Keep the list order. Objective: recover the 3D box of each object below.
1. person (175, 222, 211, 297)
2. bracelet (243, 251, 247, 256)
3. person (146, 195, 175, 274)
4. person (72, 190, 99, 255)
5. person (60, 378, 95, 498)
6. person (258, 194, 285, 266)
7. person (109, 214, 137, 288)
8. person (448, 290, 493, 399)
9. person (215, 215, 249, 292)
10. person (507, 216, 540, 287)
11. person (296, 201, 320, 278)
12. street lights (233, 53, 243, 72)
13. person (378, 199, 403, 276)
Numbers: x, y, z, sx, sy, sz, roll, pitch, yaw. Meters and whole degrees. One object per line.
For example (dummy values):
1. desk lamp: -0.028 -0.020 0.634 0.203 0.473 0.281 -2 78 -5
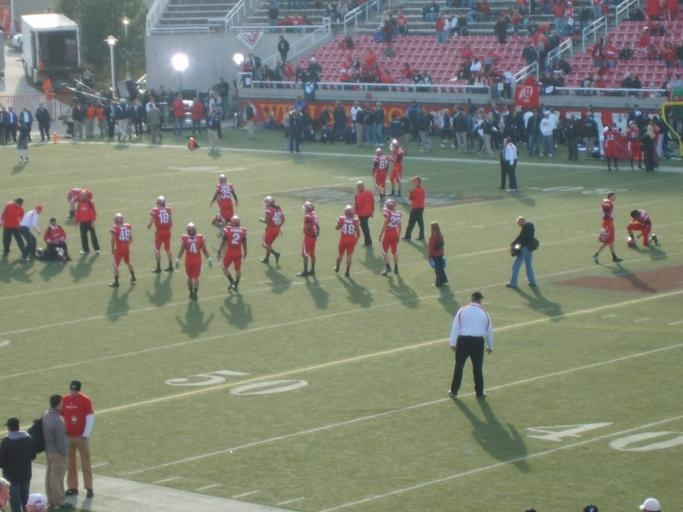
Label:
1. person: -3.931 0.178 41.329 0.945 1.978 0.532 1 2 6
2. bracelet: -2.649 -0.096 42.633 0.085 0.116 0.043 -6 -4 6
3. person: -5.099 -0.765 43.609 0.811 2.290 0.678 3 19 -4
4. person: -7.377 -0.999 44.882 0.626 2.011 0.734 9 11 41
5. person: -5.700 3.879 33.007 0.795 2.455 0.831 -3 -2 14
6. person: -1.888 -0.777 43.999 0.647 1.847 0.718 0 7 -9
7. person: -6.072 -0.222 42.352 0.805 1.938 0.715 -13 18 -40
8. person: 3.030 2.040 35.652 0.986 2.424 0.688 7 2 3
9. person: -2.962 -0.135 42.047 0.905 2.006 0.739 0 14 -28
10. person: 4.909 -0.186 41.390 0.759 1.833 0.923 -9 21 -27
11. person: -0.879 -0.449 42.645 0.598 2.031 0.489 11 21 20
12. street lights: -4.906 -9.533 74.009 0.177 0.735 0.706 0 39 -19
13. person: 1.395 -0.531 42.660 0.709 2.078 0.527 3 -4 -34
